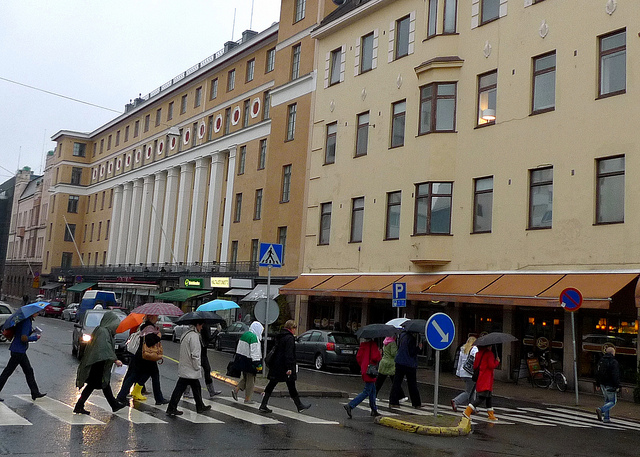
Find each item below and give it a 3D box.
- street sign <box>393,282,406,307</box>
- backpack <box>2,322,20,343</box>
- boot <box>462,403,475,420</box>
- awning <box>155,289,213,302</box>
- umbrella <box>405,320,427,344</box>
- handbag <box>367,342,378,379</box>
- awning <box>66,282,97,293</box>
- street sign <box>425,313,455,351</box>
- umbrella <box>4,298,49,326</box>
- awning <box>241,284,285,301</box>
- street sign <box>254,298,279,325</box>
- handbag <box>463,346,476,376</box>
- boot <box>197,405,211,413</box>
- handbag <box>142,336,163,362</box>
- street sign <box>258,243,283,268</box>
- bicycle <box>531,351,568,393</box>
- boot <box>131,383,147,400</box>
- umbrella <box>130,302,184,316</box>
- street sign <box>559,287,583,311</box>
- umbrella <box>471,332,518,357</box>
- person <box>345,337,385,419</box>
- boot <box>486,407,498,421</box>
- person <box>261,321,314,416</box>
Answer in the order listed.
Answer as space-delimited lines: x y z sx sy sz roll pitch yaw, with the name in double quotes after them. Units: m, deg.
2.965 2.497 22.006 0.441 0.888 0.505 3 -10 -3 "street sign"
-7.761 2.580 14.552 0.271 0.464 0.412 21 20 4 "backpack"
3.923 4.823 15.437 0.197 0.303 0.428 27 -19 54 "boot"
-11.148 5.355 47.466 2.244 1.127 5.532 10 -14 -35 "awning"
2.884 2.993 17.359 0.451 0.419 0.475 -3 -12 27 "umbrella"
1.385 3.547 15.448 0.246 0.790 0.442 1 -10 7 "handbag"
-28.874 6.995 70.364 1.672 1.175 4.902 11 -14 -39 "awning"
3.056 2.639 14.904 0.815 0.963 0.310 8 -12 -29 "street sign"
-7.379 2.161 14.658 0.965 0.614 0.726 4 -11 -8 "umbrella"
-3.460 3.922 35.749 1.087 0.669 2.561 -27 2 -36 "awning"
-1.842 2.798 19.721 0.782 0.870 0.188 -3 -11 29 "street sign"
4.413 3.998 17.220 0.428 0.653 0.642 0 -16 6 "handbag"
-2.903 4.520 14.528 0.335 0.157 0.220 8 -12 -26 "boot"
-4.335 3.073 14.878 0.506 0.796 0.269 10 -22 -37 "handbag"
-1.812 0.910 20.954 0.742 1.074 1.971 3 -11 -7 "street sign"
9.268 5.845 23.388 0.943 1.319 1.868 0 -10 -18 "bicycle"
-4.888 4.386 15.631 0.376 0.393 0.298 4 -11 -10 "boot"
-4.608 2.234 16.131 1.078 0.423 1.470 2 -11 1 "umbrella"
8.582 2.389 19.878 0.123 0.996 0.915 10 -3 -37 "street sign"
4.732 2.993 15.761 0.764 0.487 0.766 7 -21 -45 "umbrella"
1.218 3.969 15.545 0.806 2.098 0.902 -2 -11 23 "person"
4.740 5.072 15.849 0.383 0.424 0.205 2 -3 -16 "boot"
-0.917 3.653 15.330 1.204 2.378 0.695 4 -10 -13 "person"
